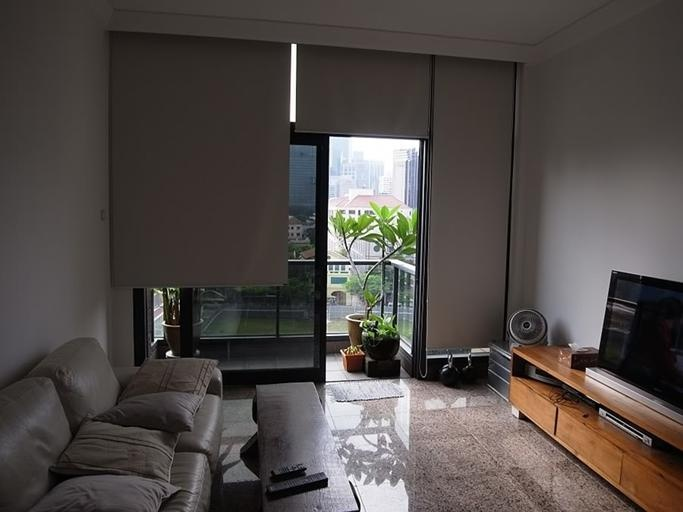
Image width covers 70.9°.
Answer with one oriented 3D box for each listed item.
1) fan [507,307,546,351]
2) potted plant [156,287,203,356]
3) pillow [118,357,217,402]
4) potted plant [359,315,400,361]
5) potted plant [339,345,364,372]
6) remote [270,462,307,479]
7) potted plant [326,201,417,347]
[{"bbox_3d":[1.567,0.615,4.020,0.259,0.309,0.287,8,-10,9],"label":"fan"},{"bbox_3d":[-1.502,0.552,4.351,0.358,0.687,0.379,-9,-4,-6],"label":"potted plant"},{"bbox_3d":[-1.143,0.781,3.159,0.328,0.109,0.331,5,21,2],"label":"pillow"},{"bbox_3d":[0.401,0.777,4.660,0.376,0.409,0.395,4,-6,-27],"label":"potted plant"},{"bbox_3d":[0.119,1.022,4.816,0.227,0.193,0.234,0,11,-2],"label":"potted plant"},{"bbox_3d":[-0.279,1.117,2.493,0.125,0.033,0.072,-4,7,-24],"label":"remote"},{"bbox_3d":[0.228,0.204,4.994,0.962,1.453,0.934,4,7,22],"label":"potted plant"}]
